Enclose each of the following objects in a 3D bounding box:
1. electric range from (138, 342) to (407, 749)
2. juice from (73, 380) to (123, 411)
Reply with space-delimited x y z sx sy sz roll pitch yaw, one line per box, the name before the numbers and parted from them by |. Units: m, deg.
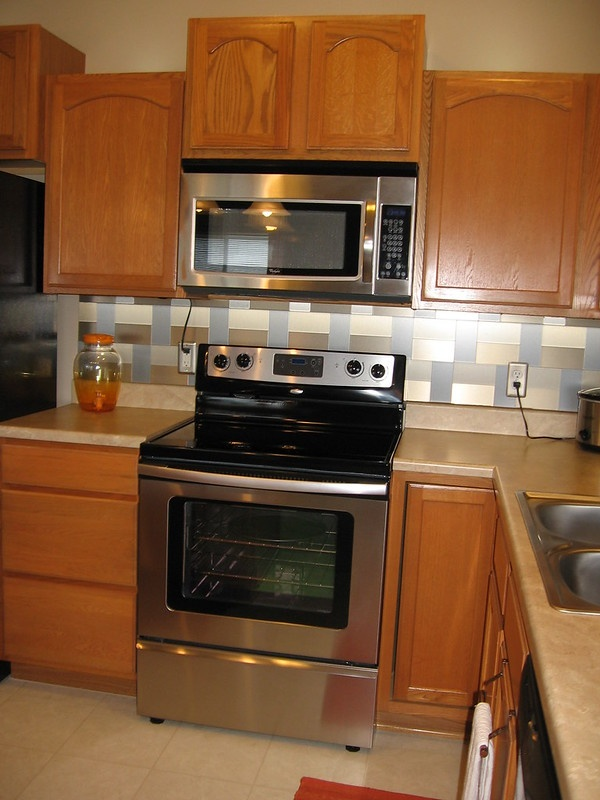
electric range | -0.061 0.392 2.108 0.743 1.030 0.574 4 12 15
juice | -0.707 -0.016 2.362 0.133 0.090 0.115 1 4 -14
